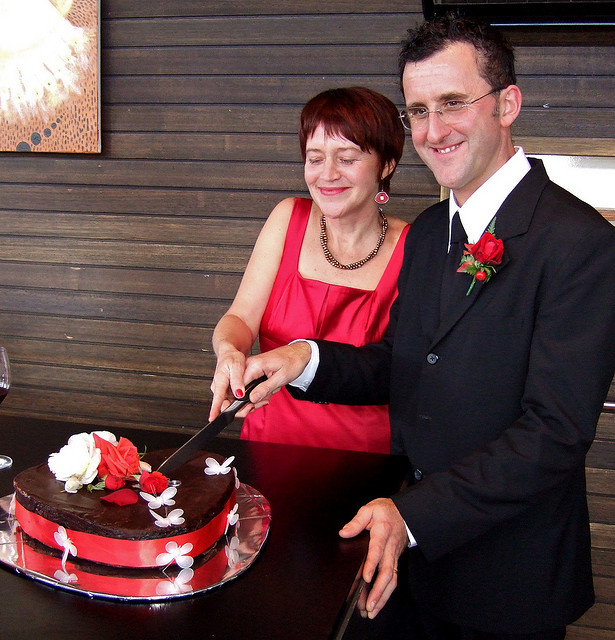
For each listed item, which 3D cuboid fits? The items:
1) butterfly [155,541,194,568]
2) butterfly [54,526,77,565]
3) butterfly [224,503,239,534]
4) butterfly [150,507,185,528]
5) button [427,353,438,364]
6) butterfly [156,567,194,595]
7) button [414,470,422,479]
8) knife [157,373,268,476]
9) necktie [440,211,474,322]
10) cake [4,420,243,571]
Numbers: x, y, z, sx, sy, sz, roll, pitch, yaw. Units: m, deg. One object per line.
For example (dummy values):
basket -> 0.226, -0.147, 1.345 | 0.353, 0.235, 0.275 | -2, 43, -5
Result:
butterfly -> -0.206, 0.360, 0.966 | 0.057, 0.044, 0.023 | -1, 16, -14
butterfly -> -0.378, 0.347, 0.977 | 0.023, 0.056, 0.035 | -11, 21, -43
butterfly -> -0.131, 0.343, 1.091 | 0.008, 0.018, 0.038 | -28, 32, 29
butterfly -> -0.220, 0.306, 0.986 | 0.048, 0.017, 0.071 | -2, 13, -19
button -> 0.277, 0.084, 1.369 | 0.008, 0.023, 0.021 | -10, 19, -39
butterfly -> -0.199, 0.391, 0.939 | 0.054, 0.009, 0.055 | 0, 12, -9
button -> 0.252, 0.349, 1.417 | 0.007, 0.022, 0.022 | -4, 16, -26
knife -> -0.164, 0.211, 1.297 | 0.056, 0.029, 0.394 | -14, 11, 41
necktie -> 0.341, -0.129, 1.422 | 0.067, 0.232, 0.015 | -2, -28, 45
cake -> -0.286, 0.298, 1.026 | 0.292, 0.097, 0.288 | 3, 5, -39
